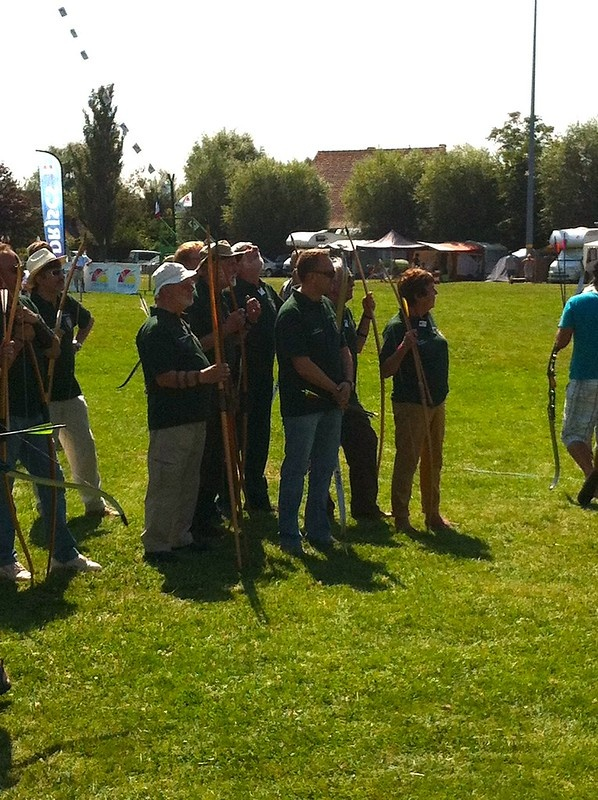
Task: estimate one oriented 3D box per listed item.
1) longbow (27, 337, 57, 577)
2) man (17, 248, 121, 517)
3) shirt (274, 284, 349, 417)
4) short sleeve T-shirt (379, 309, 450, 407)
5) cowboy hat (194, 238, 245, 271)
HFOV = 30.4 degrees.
[{"bbox_3d":[-1.453,0.299,6.150,0.068,1.343,0.184,-5,4,-26],"label":"longbow"},{"bbox_3d":[-1.490,-0.064,7.077,0.514,1.791,0.532,-13,8,-27],"label":"man"},{"bbox_3d":[0.095,-0.280,6.659,0.352,0.754,0.486,11,17,36],"label":"shirt"},{"bbox_3d":[0.770,-0.257,7.282,0.466,0.630,0.429,1,14,2],"label":"short sleeve T-shirt"},{"bbox_3d":[-0.513,-0.886,6.841,0.243,0.090,0.241,-20,8,34],"label":"cowboy hat"}]
